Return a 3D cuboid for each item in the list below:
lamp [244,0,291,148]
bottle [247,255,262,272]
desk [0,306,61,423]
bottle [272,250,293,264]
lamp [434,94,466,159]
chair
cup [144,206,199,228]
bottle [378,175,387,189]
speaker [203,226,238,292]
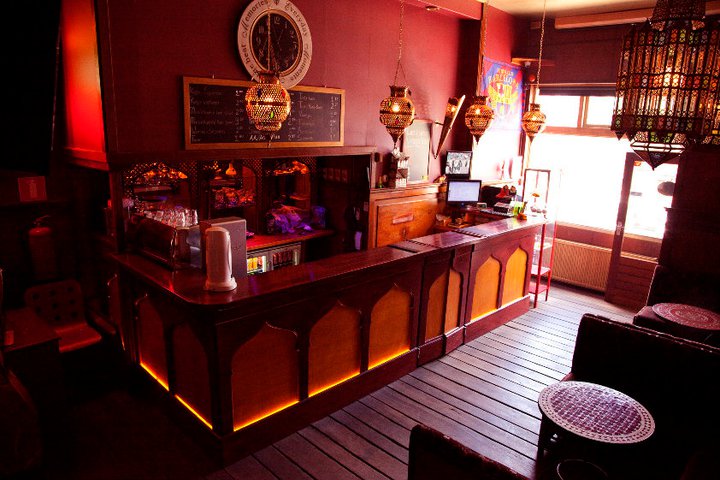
[{"bbox_3d":[-0.996,-1.757,5.260,0.508,1.642,1.657,-2,18,-8],"label":"lamp"},{"bbox_3d":[-1.442,0.307,6.687,0.130,0.227,0.251,2,4,32],"label":"bottle"},{"bbox_3d":[-3.274,1.264,4.976,0.437,0.841,0.663,-13,22,-36],"label":"desk"},{"bbox_3d":[-1.126,0.236,7.031,0.058,0.150,0.183,7,9,39],"label":"bottle"},{"bbox_3d":[1.493,-1.833,8.012,0.378,0.979,0.838,10,20,27],"label":"lamp"},{"bbox_3d":[-3.266,0.802,5.575,0.747,0.694,0.709,12,14,41],"label":"chair"},{"bbox_3d":[-2.065,-0.257,5.426,0.435,0.147,0.329,14,15,36],"label":"cup"},{"bbox_3d":[0.345,-0.869,7.313,0.092,0.170,0.254,11,21,28],"label":"bottle"},{"bbox_3d":[-1.304,0.175,4.556,0.285,0.541,0.275,-5,19,-16],"label":"speaker"}]
